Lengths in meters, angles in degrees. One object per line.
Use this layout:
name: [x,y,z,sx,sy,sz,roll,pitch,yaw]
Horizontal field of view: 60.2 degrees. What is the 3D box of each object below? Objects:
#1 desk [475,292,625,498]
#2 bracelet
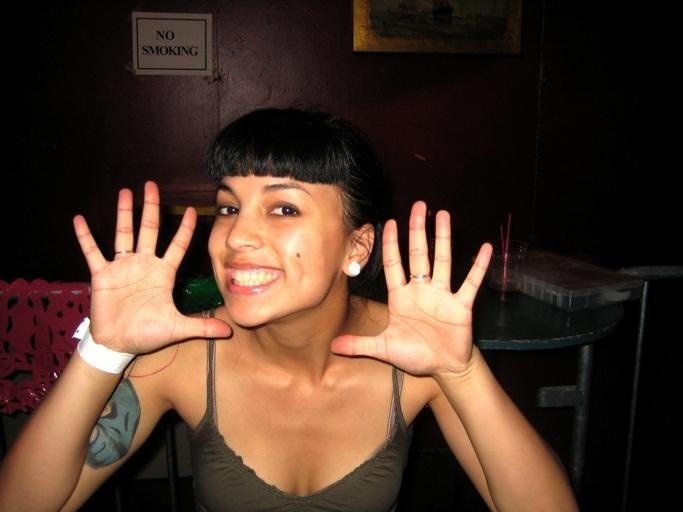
desk: [0.829,0.494,2.792,0.752,0.906,0.755,-2,13,-4]
bracelet: [-0.854,0.292,2.094,0.181,0.113,0.229,23,15,-44]
